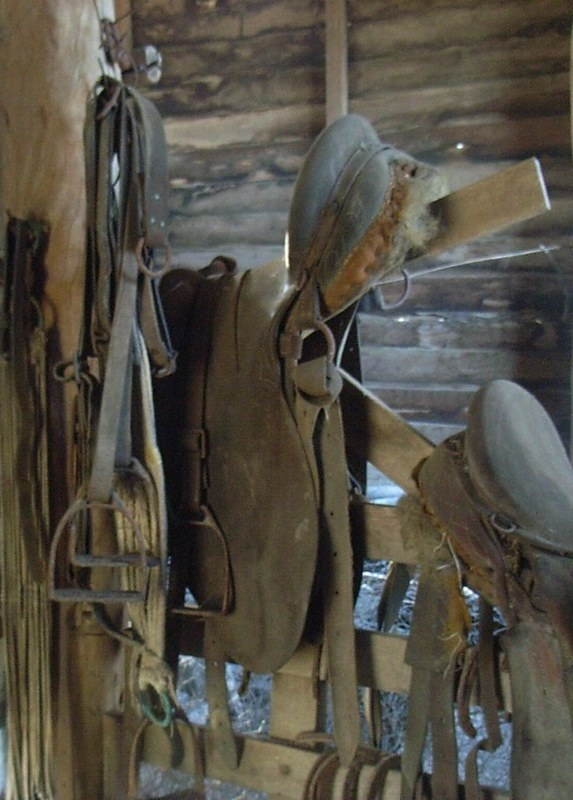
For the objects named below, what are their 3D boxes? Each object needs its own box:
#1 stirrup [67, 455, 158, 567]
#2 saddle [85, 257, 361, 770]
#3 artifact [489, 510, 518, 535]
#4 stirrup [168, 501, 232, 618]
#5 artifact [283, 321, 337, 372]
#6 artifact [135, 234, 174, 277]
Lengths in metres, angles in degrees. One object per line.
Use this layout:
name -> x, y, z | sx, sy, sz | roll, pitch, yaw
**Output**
stirrup -> -0.301, 0.200, 1.752 | 0.144, 0.211, 0.072 | -1, 1, 2
saddle -> -0.057, 0.198, 1.853 | 0.203, 0.778, 0.647 | 4, -6, -36
artifact -> 0.337, 0.191, 1.591 | 0.038, 0.014, 0.029 | 29, -6, 14
stirrup -> -0.163, 0.302, 1.926 | 0.111, 0.199, 0.047 | -10, -6, 36
artifact -> 0.046, -0.120, 1.704 | 0.027, 0.098, 0.072 | -26, 25, 33
artifact -> -0.232, -0.251, 1.742 | 0.057, 0.068, 0.109 | 6, 5, -10
